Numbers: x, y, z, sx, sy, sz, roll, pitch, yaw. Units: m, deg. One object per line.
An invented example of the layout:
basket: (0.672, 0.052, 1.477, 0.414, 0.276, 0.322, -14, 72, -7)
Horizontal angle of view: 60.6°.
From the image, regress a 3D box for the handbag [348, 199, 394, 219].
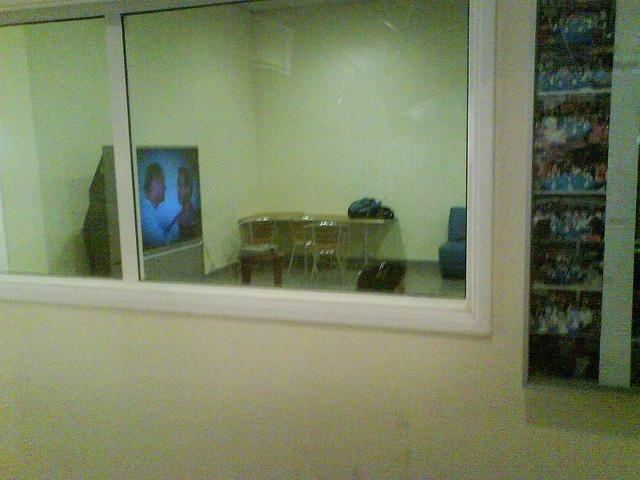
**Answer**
handbag: (0.164, -0.104, 1.875, 0.111, 0.043, 0.079, 0, 17, 1)
